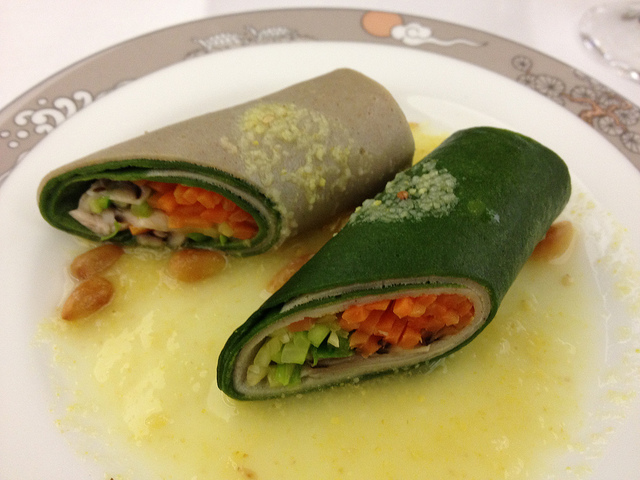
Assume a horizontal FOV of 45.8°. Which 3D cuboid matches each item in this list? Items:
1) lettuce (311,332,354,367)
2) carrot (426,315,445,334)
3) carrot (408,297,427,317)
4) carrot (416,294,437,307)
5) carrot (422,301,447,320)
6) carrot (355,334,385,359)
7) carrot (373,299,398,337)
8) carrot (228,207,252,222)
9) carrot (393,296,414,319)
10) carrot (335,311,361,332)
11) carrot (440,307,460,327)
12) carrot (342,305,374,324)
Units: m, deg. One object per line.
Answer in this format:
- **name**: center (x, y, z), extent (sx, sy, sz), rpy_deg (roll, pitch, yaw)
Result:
- **lettuce**: center (0.053, 0.500, 3.336), extent (0.151, 0.054, 0.134), rpy_deg (-4, 96, -10)
- **carrot**: center (0.507, 0.377, 3.409), extent (0.079, 0.072, 0.020), rpy_deg (23, 29, -18)
- **carrot**: center (0.426, 0.294, 3.306), extent (0.070, 0.020, 0.082), rpy_deg (13, 70, -1)
- **carrot**: center (0.460, 0.257, 3.311), extent (0.059, 0.062, 0.015), rpy_deg (38, 23, -36)
- **carrot**: center (0.504, 0.309, 3.359), extent (0.084, 0.022, 0.072), rpy_deg (17, 103, -10)
- **carrot**: center (0.223, 0.478, 3.404), extent (0.107, 0.034, 0.104), rpy_deg (-43, 108, -6)
- **carrot**: center (0.277, 0.344, 3.378), extent (0.096, 0.047, 0.168), rpy_deg (23, 80, -9)
- **carrot**: center (-0.370, -0.126, 3.656), extent (0.082, 0.027, 0.078), rpy_deg (-39, 102, -7)
- **carrot**: center (0.358, 0.290, 3.302), extent (0.077, 0.032, 0.089), rpy_deg (14, 82, 2)
- **carrot**: center (0.119, 0.365, 3.344), extent (0.076, 0.090, 0.037), rpy_deg (0, 32, 19)
- **carrot**: center (0.570, 0.347, 3.379), extent (0.076, 0.023, 0.075), rpy_deg (30, 84, -10)
- **carrot**: center (0.157, 0.321, 3.315), extent (0.091, 0.056, 0.107), rpy_deg (43, 84, 6)
